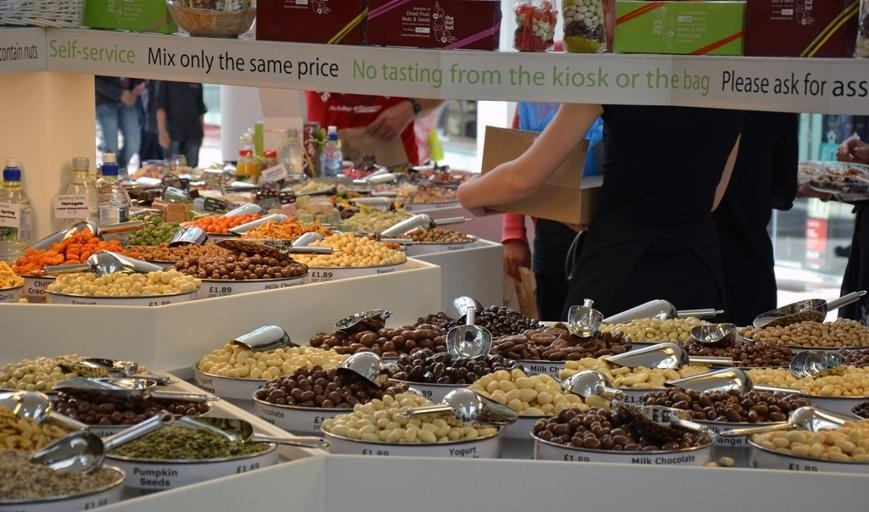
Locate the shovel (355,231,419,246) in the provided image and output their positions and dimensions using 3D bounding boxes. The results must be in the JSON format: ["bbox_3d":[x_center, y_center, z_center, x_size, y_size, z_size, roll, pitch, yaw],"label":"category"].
[{"bbox_3d":[-0.263,-0.096,4.860,0.252,0.035,0.127,10,4,-11],"label":"shovel"}]

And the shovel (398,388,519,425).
[{"bbox_3d":[0.112,0.533,2.905,0.455,0.147,0.147,8,4,-34],"label":"shovel"}]

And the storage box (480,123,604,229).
[{"bbox_3d":[0.663,-0.448,4.528,0.693,0.416,0.530,13,16,39],"label":"storage box"}]

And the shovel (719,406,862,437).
[{"bbox_3d":[1.231,0.573,2.861,0.519,0.094,0.107,-2,9,-8],"label":"shovel"}]

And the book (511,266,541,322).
[{"bbox_3d":[0.593,0.240,5.476,0.072,0.405,0.098,-3,50,10],"label":"book"}]

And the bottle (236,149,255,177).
[{"bbox_3d":[-1.486,-0.727,6.596,0.134,0.200,0.224,-3,9,-11],"label":"bottle"}]

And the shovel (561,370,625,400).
[{"bbox_3d":[0.576,0.471,3.076,0.218,0.081,0.137,0,9,4],"label":"shovel"}]

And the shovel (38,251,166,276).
[{"bbox_3d":[-1.466,0.028,3.705,0.533,0.106,0.175,2,9,20],"label":"shovel"}]

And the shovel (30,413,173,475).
[{"bbox_3d":[-1.048,0.622,2.682,0.417,0.098,0.122,-13,47,-23],"label":"shovel"}]

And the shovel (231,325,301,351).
[{"bbox_3d":[-0.694,0.341,3.434,0.239,0.082,0.120,-9,12,-44],"label":"shovel"}]

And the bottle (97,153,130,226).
[{"bbox_3d":[-1.771,-0.366,4.596,0.162,0.375,0.284,-4,9,-22],"label":"bottle"}]

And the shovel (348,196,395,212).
[{"bbox_3d":[-0.417,-0.352,5.717,0.305,0.071,0.333,-1,9,-5],"label":"shovel"}]

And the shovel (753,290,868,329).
[{"bbox_3d":[1.681,0.242,3.840,0.560,0.151,0.197,-3,9,-16],"label":"shovel"}]

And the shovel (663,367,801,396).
[{"bbox_3d":[1.091,0.460,3.096,0.450,0.070,0.156,-2,9,-8],"label":"shovel"}]

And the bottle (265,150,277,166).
[{"bbox_3d":[-1.281,-0.763,6.561,0.114,0.105,0.114,2,3,14],"label":"bottle"}]

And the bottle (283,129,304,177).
[{"bbox_3d":[-1.093,-0.797,6.474,0.164,0.357,0.492,-2,9,-9],"label":"bottle"}]

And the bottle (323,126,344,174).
[{"bbox_3d":[-0.811,-0.828,6.621,0.148,0.379,0.327,-2,9,-7],"label":"bottle"}]
